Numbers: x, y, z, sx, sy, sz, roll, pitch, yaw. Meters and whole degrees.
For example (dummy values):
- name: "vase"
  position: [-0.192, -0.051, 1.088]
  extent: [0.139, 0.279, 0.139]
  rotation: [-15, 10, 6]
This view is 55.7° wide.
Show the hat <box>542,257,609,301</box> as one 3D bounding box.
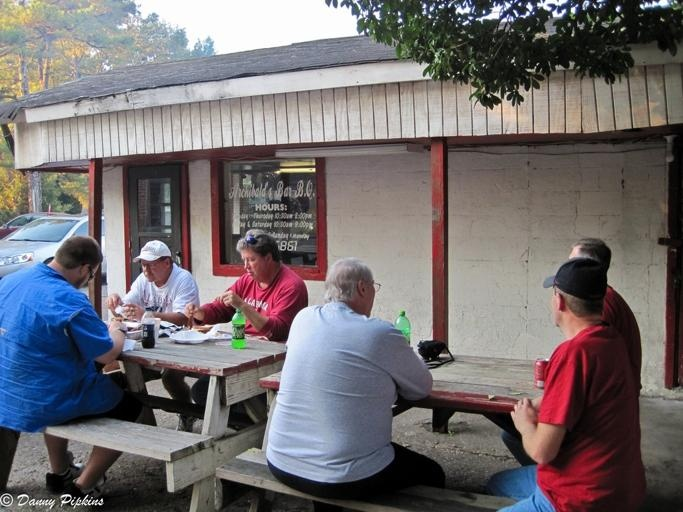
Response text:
- name: "hat"
  position: [1.252, 0.123, 3.430]
  extent: [0.194, 0.145, 0.260]
  rotation: [-5, 15, -40]

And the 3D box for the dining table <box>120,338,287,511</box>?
- name: "dining table"
  position: [-1.004, 1.110, 4.799]
  extent: [1.127, 0.575, 1.155]
  rotation: [1, 1, 31]

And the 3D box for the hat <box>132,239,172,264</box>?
- name: "hat"
  position: [-1.702, -0.031, 6.026]
  extent: [0.228, 0.186, 0.339]
  rotation: [0, -1, 30]

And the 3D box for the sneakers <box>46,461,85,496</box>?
- name: "sneakers"
  position: [-2.086, 1.686, 4.950]
  extent: [0.153, 0.169, 0.362]
  rotation: [1, 6, 9]

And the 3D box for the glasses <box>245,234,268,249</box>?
- name: "glasses"
  position: [-0.716, -0.130, 5.431]
  extent: [0.156, 0.108, 0.053]
  rotation: [-3, 2, -12]

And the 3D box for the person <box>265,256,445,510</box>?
- name: "person"
  position: [0.068, 0.744, 3.890]
  extent: [0.985, 1.443, 0.450]
  rotation: [-3, 2, -22]

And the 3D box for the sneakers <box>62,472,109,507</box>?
- name: "sneakers"
  position: [-1.898, 1.754, 4.816]
  extent: [0.159, 0.162, 0.377]
  rotation: [2, 4, 6]

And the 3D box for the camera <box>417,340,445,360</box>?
- name: "camera"
  position: [0.676, 0.706, 4.892]
  extent: [0.135, 0.077, 0.174]
  rotation: [-2, 0, -5]
